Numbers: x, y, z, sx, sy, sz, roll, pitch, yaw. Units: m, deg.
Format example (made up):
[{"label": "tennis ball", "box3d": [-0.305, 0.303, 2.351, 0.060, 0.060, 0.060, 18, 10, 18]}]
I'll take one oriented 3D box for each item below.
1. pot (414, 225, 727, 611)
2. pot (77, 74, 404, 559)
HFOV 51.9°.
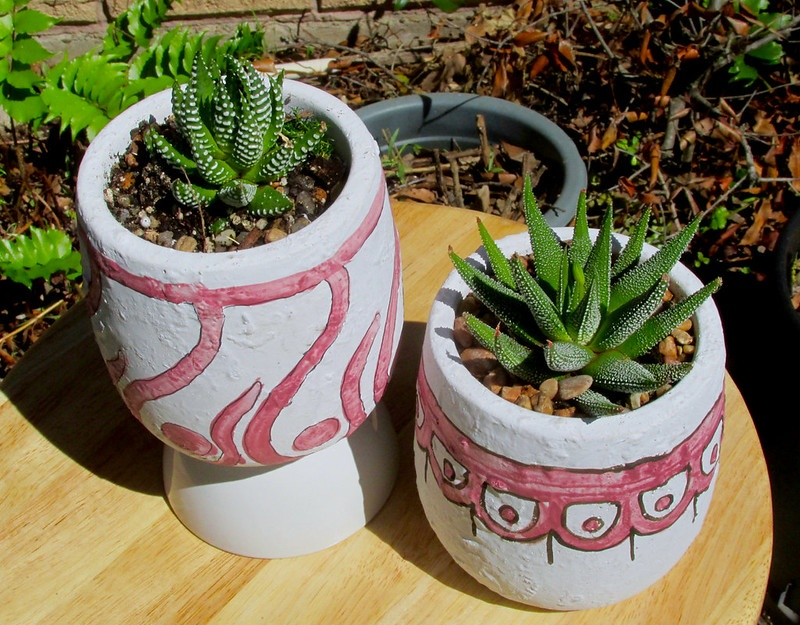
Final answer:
[{"label": "pot", "box3d": [0.204, 0.159, 1.005, 0.344, 0.294, 0.333, -5, 32, 3]}, {"label": "pot", "box3d": [-0.181, 0.063, 1.046, 0.339, 0.473, 0.328, 1, 36, -1]}]
